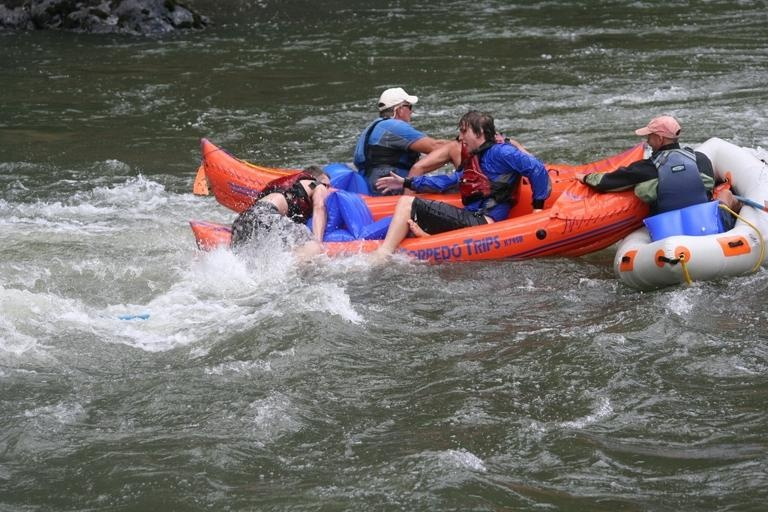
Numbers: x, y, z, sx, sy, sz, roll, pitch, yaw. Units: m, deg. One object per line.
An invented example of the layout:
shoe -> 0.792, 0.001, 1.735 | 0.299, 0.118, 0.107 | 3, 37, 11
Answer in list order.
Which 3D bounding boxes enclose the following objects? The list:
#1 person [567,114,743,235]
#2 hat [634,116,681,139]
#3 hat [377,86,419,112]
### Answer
person -> 3.530, -1.055, 12.234 | 1.742, 0.951, 1.875 | -21, 22, -15
hat -> 3.264, -1.583, 12.371 | 0.668, 0.198, 0.350 | 8, 16, 21
hat -> 0.357, -2.138, 13.855 | 0.833, 0.257, 0.420 | -7, 19, -10
